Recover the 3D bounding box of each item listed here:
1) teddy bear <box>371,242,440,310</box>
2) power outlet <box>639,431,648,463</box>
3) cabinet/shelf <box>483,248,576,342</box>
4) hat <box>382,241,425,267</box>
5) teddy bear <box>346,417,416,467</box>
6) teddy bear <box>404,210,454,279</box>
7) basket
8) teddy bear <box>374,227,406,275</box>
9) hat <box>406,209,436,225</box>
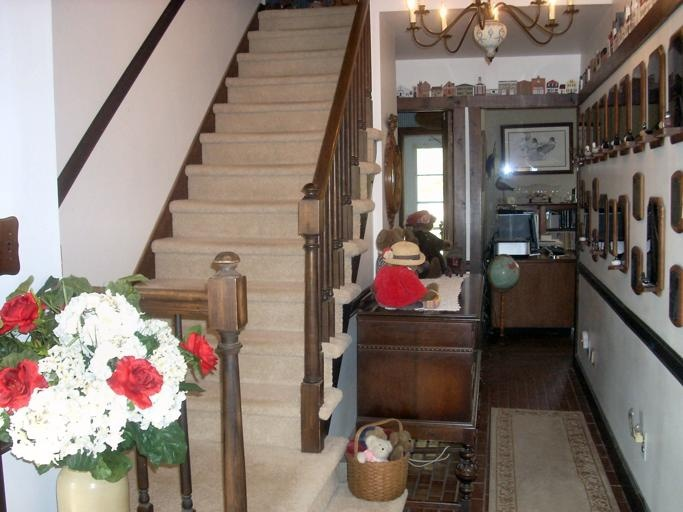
[{"bbox_3d":[0.430,0.128,3.873,0.326,0.472,0.517,-7,16,-38],"label":"teddy bear"},{"bbox_3d":[1.834,1.150,3.449,0.021,0.245,0.223,0,0,22],"label":"power outlet"},{"bbox_3d":[2.559,0.757,7.422,1.061,1.145,0.816,0,25,16],"label":"cabinet/shelf"},{"bbox_3d":[0.412,-0.049,3.885,0.177,0.083,0.195,-19,25,-38],"label":"hat"},{"bbox_3d":[0.244,1.051,3.338,0.224,0.218,0.281,2,-1,-9],"label":"teddy bear"},{"bbox_3d":[0.774,-0.011,4.978,0.297,0.800,0.271,11,29,42],"label":"teddy bear"},{"bbox_3d":[0.196,1.202,3.370,0.310,0.423,0.402,-1,8,-12],"label":"basket"},{"bbox_3d":[0.381,-0.054,4.385,0.259,0.433,0.365,-3,7,-7],"label":"teddy bear"},{"bbox_3d":[0.829,-0.406,5.820,0.369,0.207,0.518,1,6,18],"label":"hat"}]
